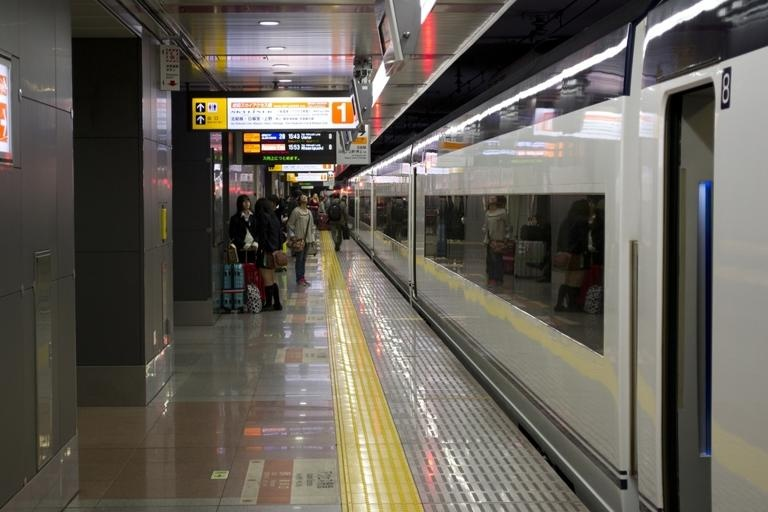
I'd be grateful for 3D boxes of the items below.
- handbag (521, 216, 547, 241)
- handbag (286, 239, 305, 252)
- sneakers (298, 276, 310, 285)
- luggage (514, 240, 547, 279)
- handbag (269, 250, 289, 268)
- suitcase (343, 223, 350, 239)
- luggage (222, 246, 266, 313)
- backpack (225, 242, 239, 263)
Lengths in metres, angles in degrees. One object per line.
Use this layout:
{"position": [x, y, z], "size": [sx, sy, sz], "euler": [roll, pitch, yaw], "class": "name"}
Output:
{"position": [1.250, -0.230, 5.003], "size": [0.219, 0.216, 0.158], "euler": [0, 6, 10], "class": "handbag"}
{"position": [-1.888, -0.230, 12.460], "size": [0.231, 0.136, 0.250], "euler": [9, 38, 14], "class": "handbag"}
{"position": [-1.904, 0.596, 13.451], "size": [0.122, 0.153, 0.352], "euler": [0, -4, -21], "class": "sneakers"}
{"position": [1.246, 0.031, 5.091], "size": [0.245, 0.423, 0.449], "euler": [-1, 3, -5], "class": "luggage"}
{"position": [-1.819, 0.047, 10.280], "size": [0.256, 0.378, 0.371], "euler": [3, 5, 41], "class": "handbag"}
{"position": [-1.587, -0.956, 23.672], "size": [0.247, 0.683, 0.707], "euler": [-2, 2, -5], "class": "suitcase"}
{"position": [-2.479, 0.395, 10.144], "size": [0.682, 1.172, 0.336], "euler": [-1, 6, -16], "class": "luggage"}
{"position": [-2.602, -0.044, 10.047], "size": [0.192, 0.328, 0.255], "euler": [0, 6, -8], "class": "backpack"}
